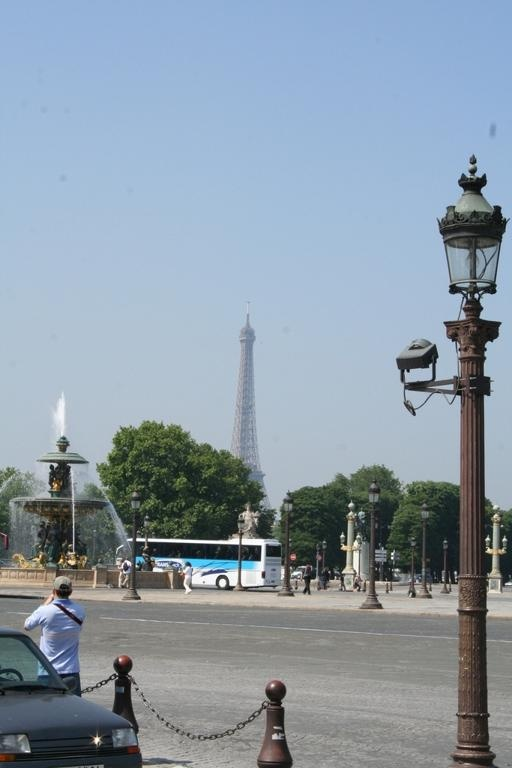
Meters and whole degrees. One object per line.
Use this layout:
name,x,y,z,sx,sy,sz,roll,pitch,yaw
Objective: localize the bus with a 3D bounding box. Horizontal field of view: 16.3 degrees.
bus,-2.405,7.406,71.235,7.306,2.506,2.327,1,-5,32
